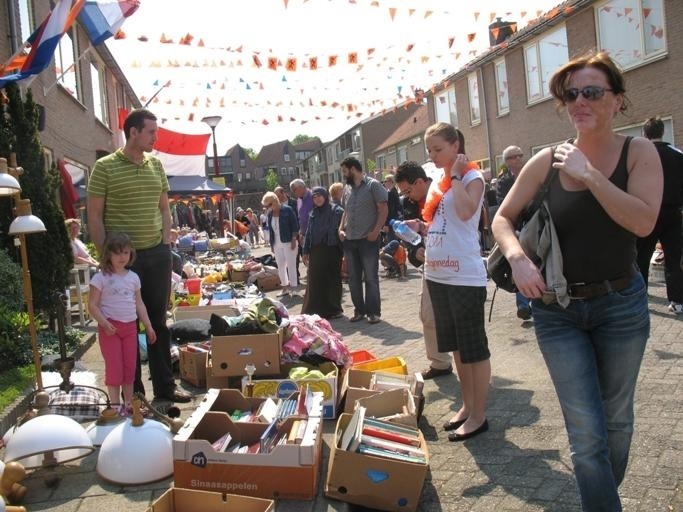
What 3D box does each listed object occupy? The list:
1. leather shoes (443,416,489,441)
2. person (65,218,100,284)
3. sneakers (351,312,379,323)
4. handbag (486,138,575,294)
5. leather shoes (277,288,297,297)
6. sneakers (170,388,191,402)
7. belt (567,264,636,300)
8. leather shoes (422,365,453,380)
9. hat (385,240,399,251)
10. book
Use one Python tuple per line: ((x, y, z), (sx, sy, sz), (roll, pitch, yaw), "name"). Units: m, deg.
((0.973, 1.338, 4.243), (0.259, 0.108, 0.160), (-2, 5, -5), "leather shoes")
((-4.555, -0.102, 9.592), (0.700, 0.995, 0.497), (0, 9, -11), "person")
((0.355, 0.908, 8.208), (0.434, 0.170, 0.161), (-5, -2, 33), "sneakers")
((1.133, -0.066, 3.540), (0.639, 1.283, 0.501), (1, -2, 20), "handbag")
((-1.132, 0.732, 11.059), (0.432, 0.187, 0.149), (1, 0, 4), "leather shoes")
((-1.563, 1.325, 5.251), (0.234, 0.111, 0.090), (-2, 4, 16), "sneakers")
((1.399, 0.139, 2.887), (0.388, 0.188, 0.110), (-3, -1, -12), "belt")
((0.949, 1.172, 5.594), (0.351, 0.149, 0.122), (1, -3, -12), "leather shoes")
((1.176, -0.242, 12.600), (0.307, 0.242, 0.427), (-8, 4, 36), "hat")
((-0.037, 1.180, 3.678), (1.188, 0.333, 0.522), (-3, -1, 5), "book")
